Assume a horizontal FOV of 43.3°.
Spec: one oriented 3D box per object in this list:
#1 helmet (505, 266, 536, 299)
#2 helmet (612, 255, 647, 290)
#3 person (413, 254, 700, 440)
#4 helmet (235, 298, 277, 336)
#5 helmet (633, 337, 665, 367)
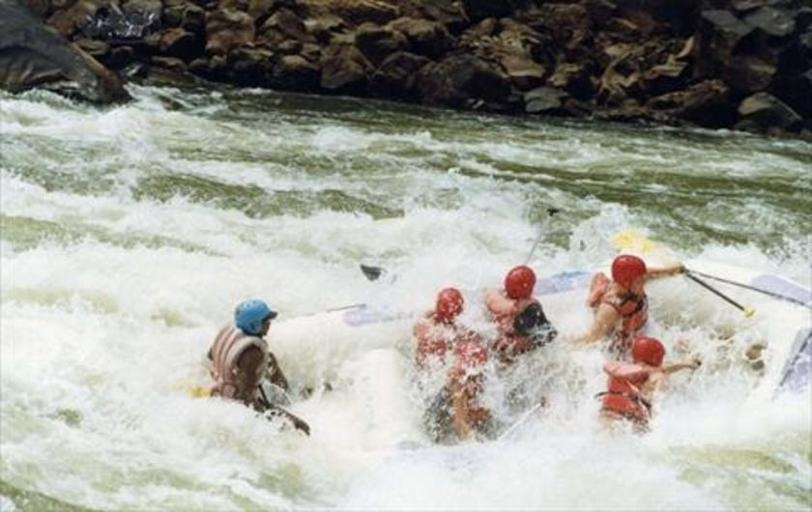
[{"bbox_3d":[0.634,0.146,5.733,0.143,0.193,0.150,33,3,-5],"label":"helmet"},{"bbox_3d":[1.224,0.064,5.624,0.176,0.172,0.180,6,23,32],"label":"helmet"},{"bbox_3d":[0.720,0.487,5.639,1.255,0.989,0.437,-24,-25,0],"label":"person"},{"bbox_3d":[-0.804,0.321,5.425,0.208,0.125,0.157,-19,38,-33],"label":"helmet"},{"bbox_3d":[1.311,0.514,5.588,0.151,0.151,0.158,6,-3,-13],"label":"helmet"}]
